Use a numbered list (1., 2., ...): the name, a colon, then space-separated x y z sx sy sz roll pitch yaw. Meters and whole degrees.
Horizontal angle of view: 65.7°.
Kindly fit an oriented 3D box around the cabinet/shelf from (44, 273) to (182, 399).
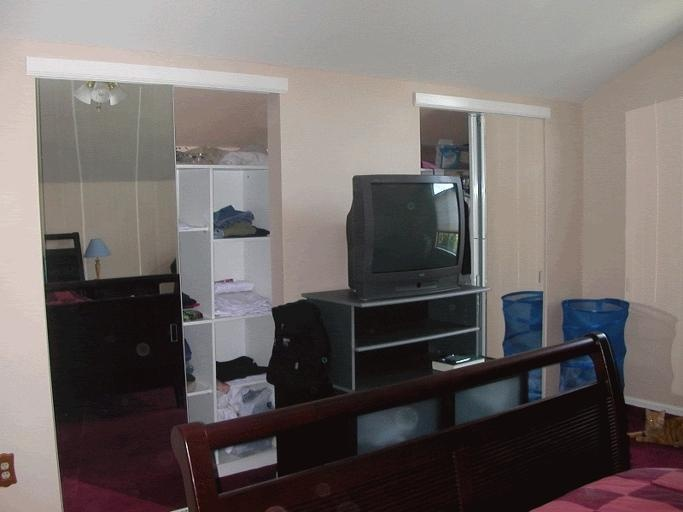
1. cabinet/shelf: -1.172 0.377 2.832 0.992 0.653 0.518 -1 -1 -29

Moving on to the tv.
1. tv: 0.352 -0.107 2.966 0.771 0.637 0.427 -4 6 -27

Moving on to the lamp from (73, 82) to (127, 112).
1. lamp: -1.158 -0.756 2.507 0.182 0.159 0.074 -1 5 -25
